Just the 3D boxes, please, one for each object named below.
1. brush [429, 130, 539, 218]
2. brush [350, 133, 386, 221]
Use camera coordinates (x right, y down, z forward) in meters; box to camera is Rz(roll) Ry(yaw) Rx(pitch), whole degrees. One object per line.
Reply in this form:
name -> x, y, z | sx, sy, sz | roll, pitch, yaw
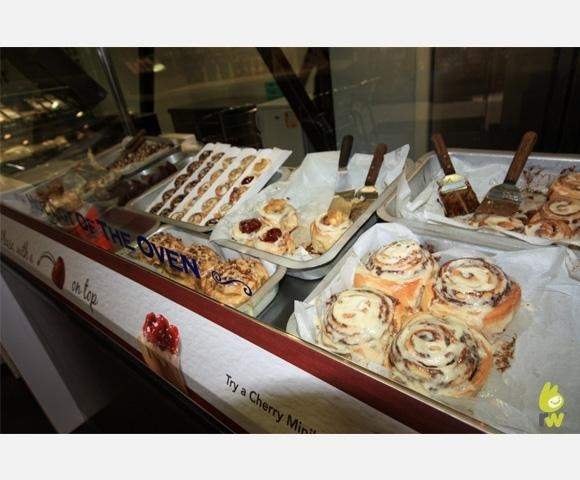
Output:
brush -> 0.462, -0.192, 1.024 | 0.257, 0.245, 0.263 | -2, 19, -5
brush -> 0.256, -0.193, 1.108 | 0.079, 0.043, 0.313 | 6, 51, 31
